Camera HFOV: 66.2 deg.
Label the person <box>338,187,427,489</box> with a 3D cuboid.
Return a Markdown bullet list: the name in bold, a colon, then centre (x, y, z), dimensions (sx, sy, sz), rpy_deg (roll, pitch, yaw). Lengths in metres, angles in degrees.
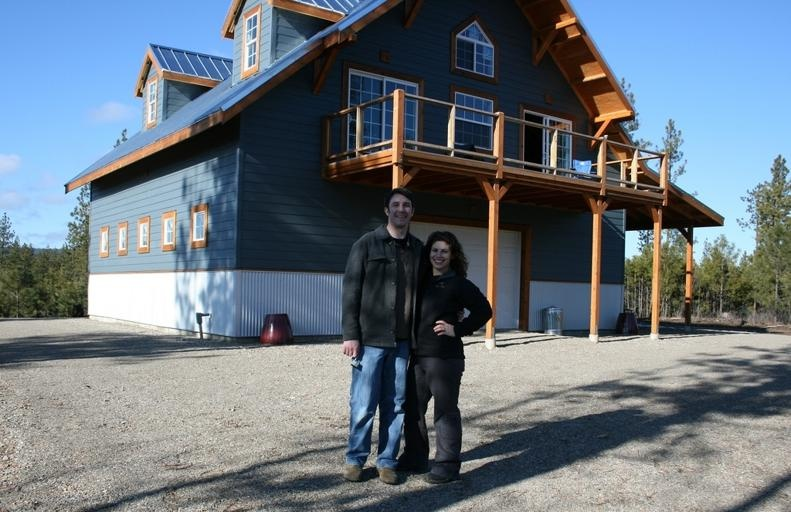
- **person**: centre (-0.163, 0.863, 6.767), dimensions (0.867, 3.230, 0.537), rpy_deg (2, 3, 0)

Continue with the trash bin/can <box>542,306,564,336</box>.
- **trash bin/can**: centre (4.918, 2.042, 19.027), dimensions (0.708, 1.234, 0.733), rpy_deg (-1, -3, 2)

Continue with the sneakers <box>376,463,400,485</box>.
- **sneakers**: centre (-0.078, 2.405, 6.662), dimensions (0.231, 0.170, 0.218), rpy_deg (2, 2, -4)
